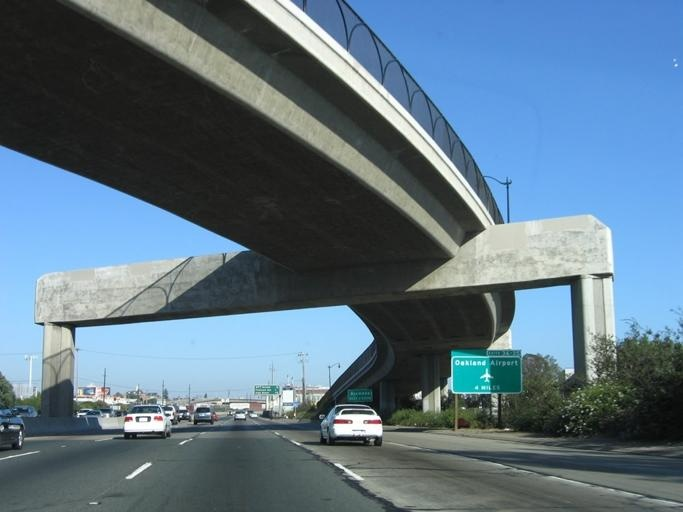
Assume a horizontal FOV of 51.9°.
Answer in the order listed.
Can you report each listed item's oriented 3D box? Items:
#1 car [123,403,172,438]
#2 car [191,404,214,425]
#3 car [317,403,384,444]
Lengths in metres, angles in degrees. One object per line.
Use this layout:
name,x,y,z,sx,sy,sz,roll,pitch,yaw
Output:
car,-9.886,8.751,36.993,1.330,1.186,3.341,1,-2,-3
car,-13.155,15.445,68.314,1.235,1.280,2.433,1,-3,-1
car,0.499,7.267,30.500,2.224,1.831,2.411,5,-15,-13
